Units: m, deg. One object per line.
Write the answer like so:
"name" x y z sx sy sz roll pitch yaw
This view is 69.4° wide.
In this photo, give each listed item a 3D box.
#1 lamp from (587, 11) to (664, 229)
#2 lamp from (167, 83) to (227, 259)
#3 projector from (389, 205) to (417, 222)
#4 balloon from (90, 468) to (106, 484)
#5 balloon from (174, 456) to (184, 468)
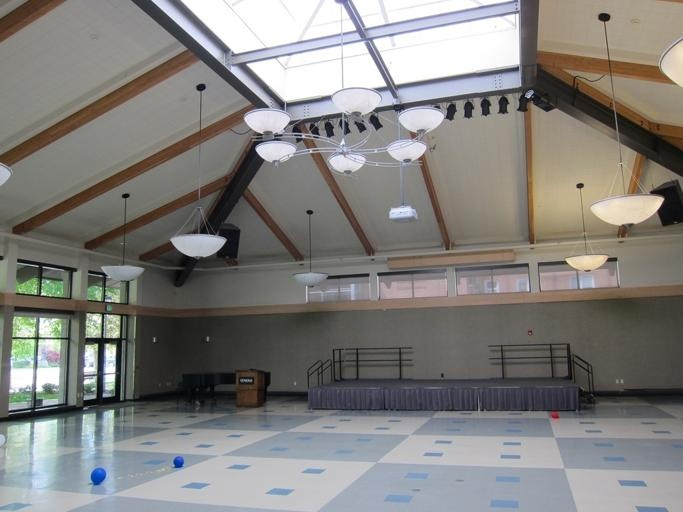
"lamp" 4.637 -2.347 8.324 1.183 3.514 1.095 -6 -1 12
"lamp" -2.814 -1.676 9.681 1.004 3.319 1.009 6 10 13
"projector" 1.134 -0.785 8.982 0.433 0.382 0.604 -4 -10 14
"balloon" -3.749 3.353 7.551 0.206 0.214 0.227 2 -10 -21
"balloon" -2.736 3.444 8.251 0.127 0.148 0.129 7 12 20
